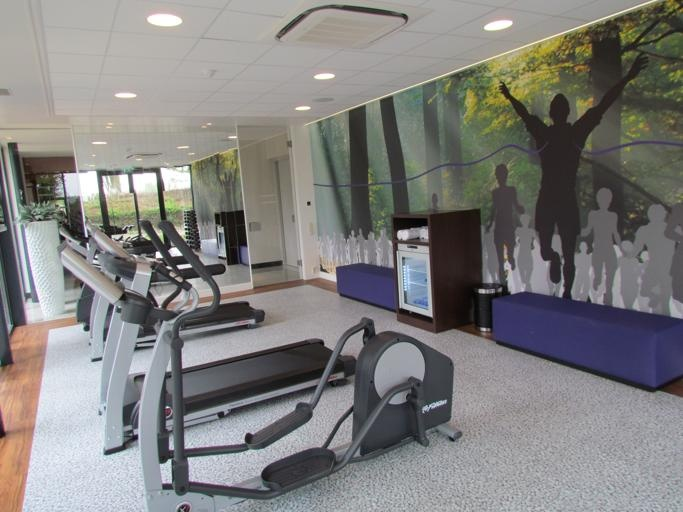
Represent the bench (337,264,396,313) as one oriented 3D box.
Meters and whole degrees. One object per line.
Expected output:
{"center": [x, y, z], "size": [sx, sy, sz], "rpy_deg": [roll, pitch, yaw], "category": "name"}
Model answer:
{"center": [0.366, 0.429, 6.647], "size": [0.758, 0.604, 1.424], "rpy_deg": [-8, 7, -33], "category": "bench"}
